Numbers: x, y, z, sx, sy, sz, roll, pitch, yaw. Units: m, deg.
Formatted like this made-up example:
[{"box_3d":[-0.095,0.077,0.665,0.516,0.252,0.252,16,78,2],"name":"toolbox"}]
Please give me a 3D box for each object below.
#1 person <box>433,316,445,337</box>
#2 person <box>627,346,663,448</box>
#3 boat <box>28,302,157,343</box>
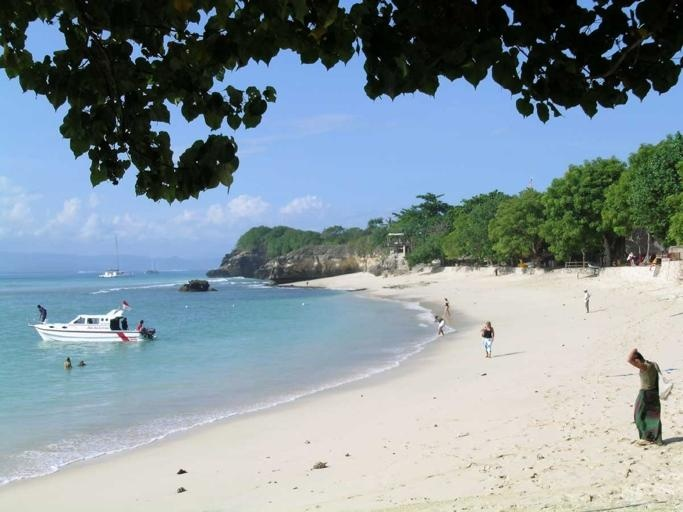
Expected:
[{"box_3d":[6.345,4.561,38.980,0.686,1.238,0.972,1,-9,-4],"name":"person"},{"box_3d":[5.981,2.711,11.702,0.526,1.993,1.084,-6,-1,25],"name":"person"},{"box_3d":[-16.589,4.952,40.403,7.638,1.951,2.112,-7,-1,16],"name":"boat"}]
